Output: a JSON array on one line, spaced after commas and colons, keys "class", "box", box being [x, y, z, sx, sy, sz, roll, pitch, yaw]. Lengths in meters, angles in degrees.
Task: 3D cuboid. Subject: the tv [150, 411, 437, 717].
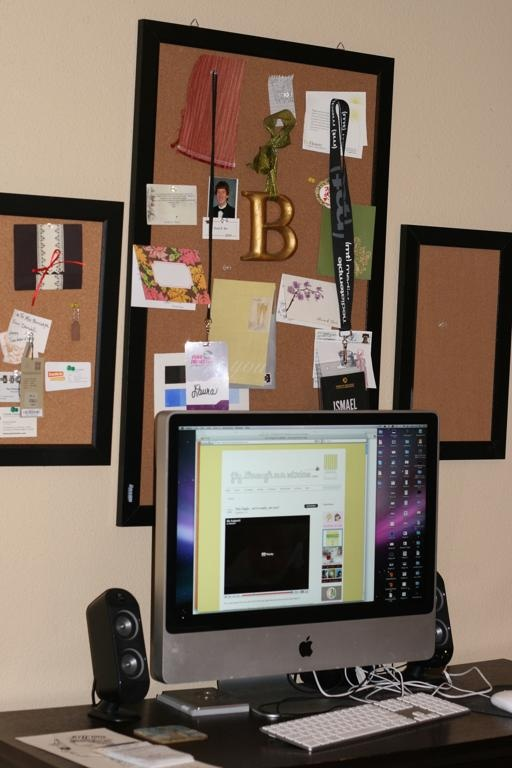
[{"class": "tv", "box": [0.054, 0.254, 1.259, 0.466, 0.420, 0.154, 1, -2, -18]}]
